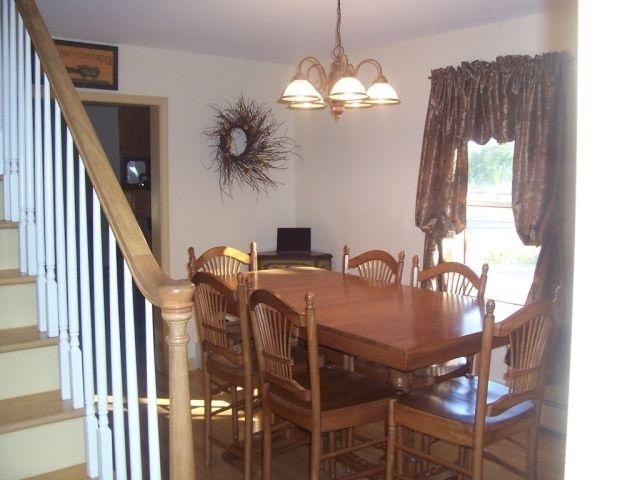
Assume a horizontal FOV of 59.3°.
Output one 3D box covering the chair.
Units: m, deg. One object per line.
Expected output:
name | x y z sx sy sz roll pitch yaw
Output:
chair | 0.309 0.662 2.938 0.657 0.850 1.197 -4 5 -39

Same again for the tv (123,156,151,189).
tv | -1.963 -0.723 6.002 0.287 0.332 0.132 -6 7 -19
